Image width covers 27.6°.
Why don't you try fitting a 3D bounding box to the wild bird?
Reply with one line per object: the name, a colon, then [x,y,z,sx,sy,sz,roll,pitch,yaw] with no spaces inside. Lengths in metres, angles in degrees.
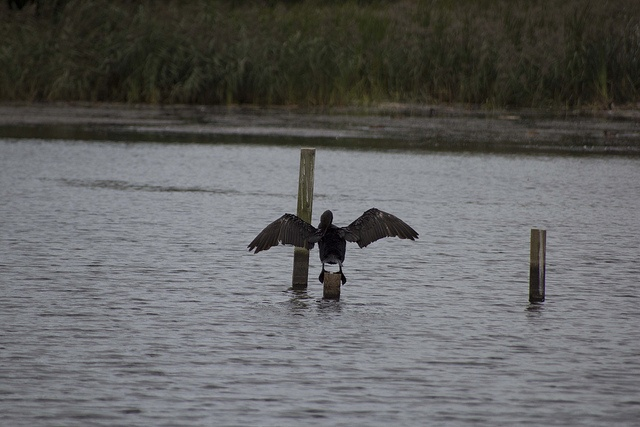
wild bird: [0.213,0.388,22.587,2.704,0.898,0.452,0,15,-2]
